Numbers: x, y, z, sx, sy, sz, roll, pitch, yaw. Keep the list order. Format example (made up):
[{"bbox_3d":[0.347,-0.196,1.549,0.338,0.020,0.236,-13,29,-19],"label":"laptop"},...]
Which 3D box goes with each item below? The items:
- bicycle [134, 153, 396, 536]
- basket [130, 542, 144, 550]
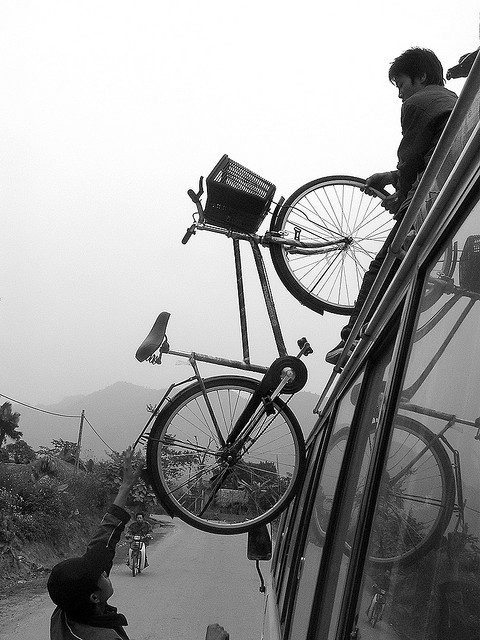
[{"bbox_3d":[0.141,0.325,2.867,1.252,2.531,0.759,12,-13,-9],"label":"bicycle"},{"bbox_3d":[-3.188,6.903,15.716,0.371,0.272,0.544,11,-15,-9],"label":"basket"}]
